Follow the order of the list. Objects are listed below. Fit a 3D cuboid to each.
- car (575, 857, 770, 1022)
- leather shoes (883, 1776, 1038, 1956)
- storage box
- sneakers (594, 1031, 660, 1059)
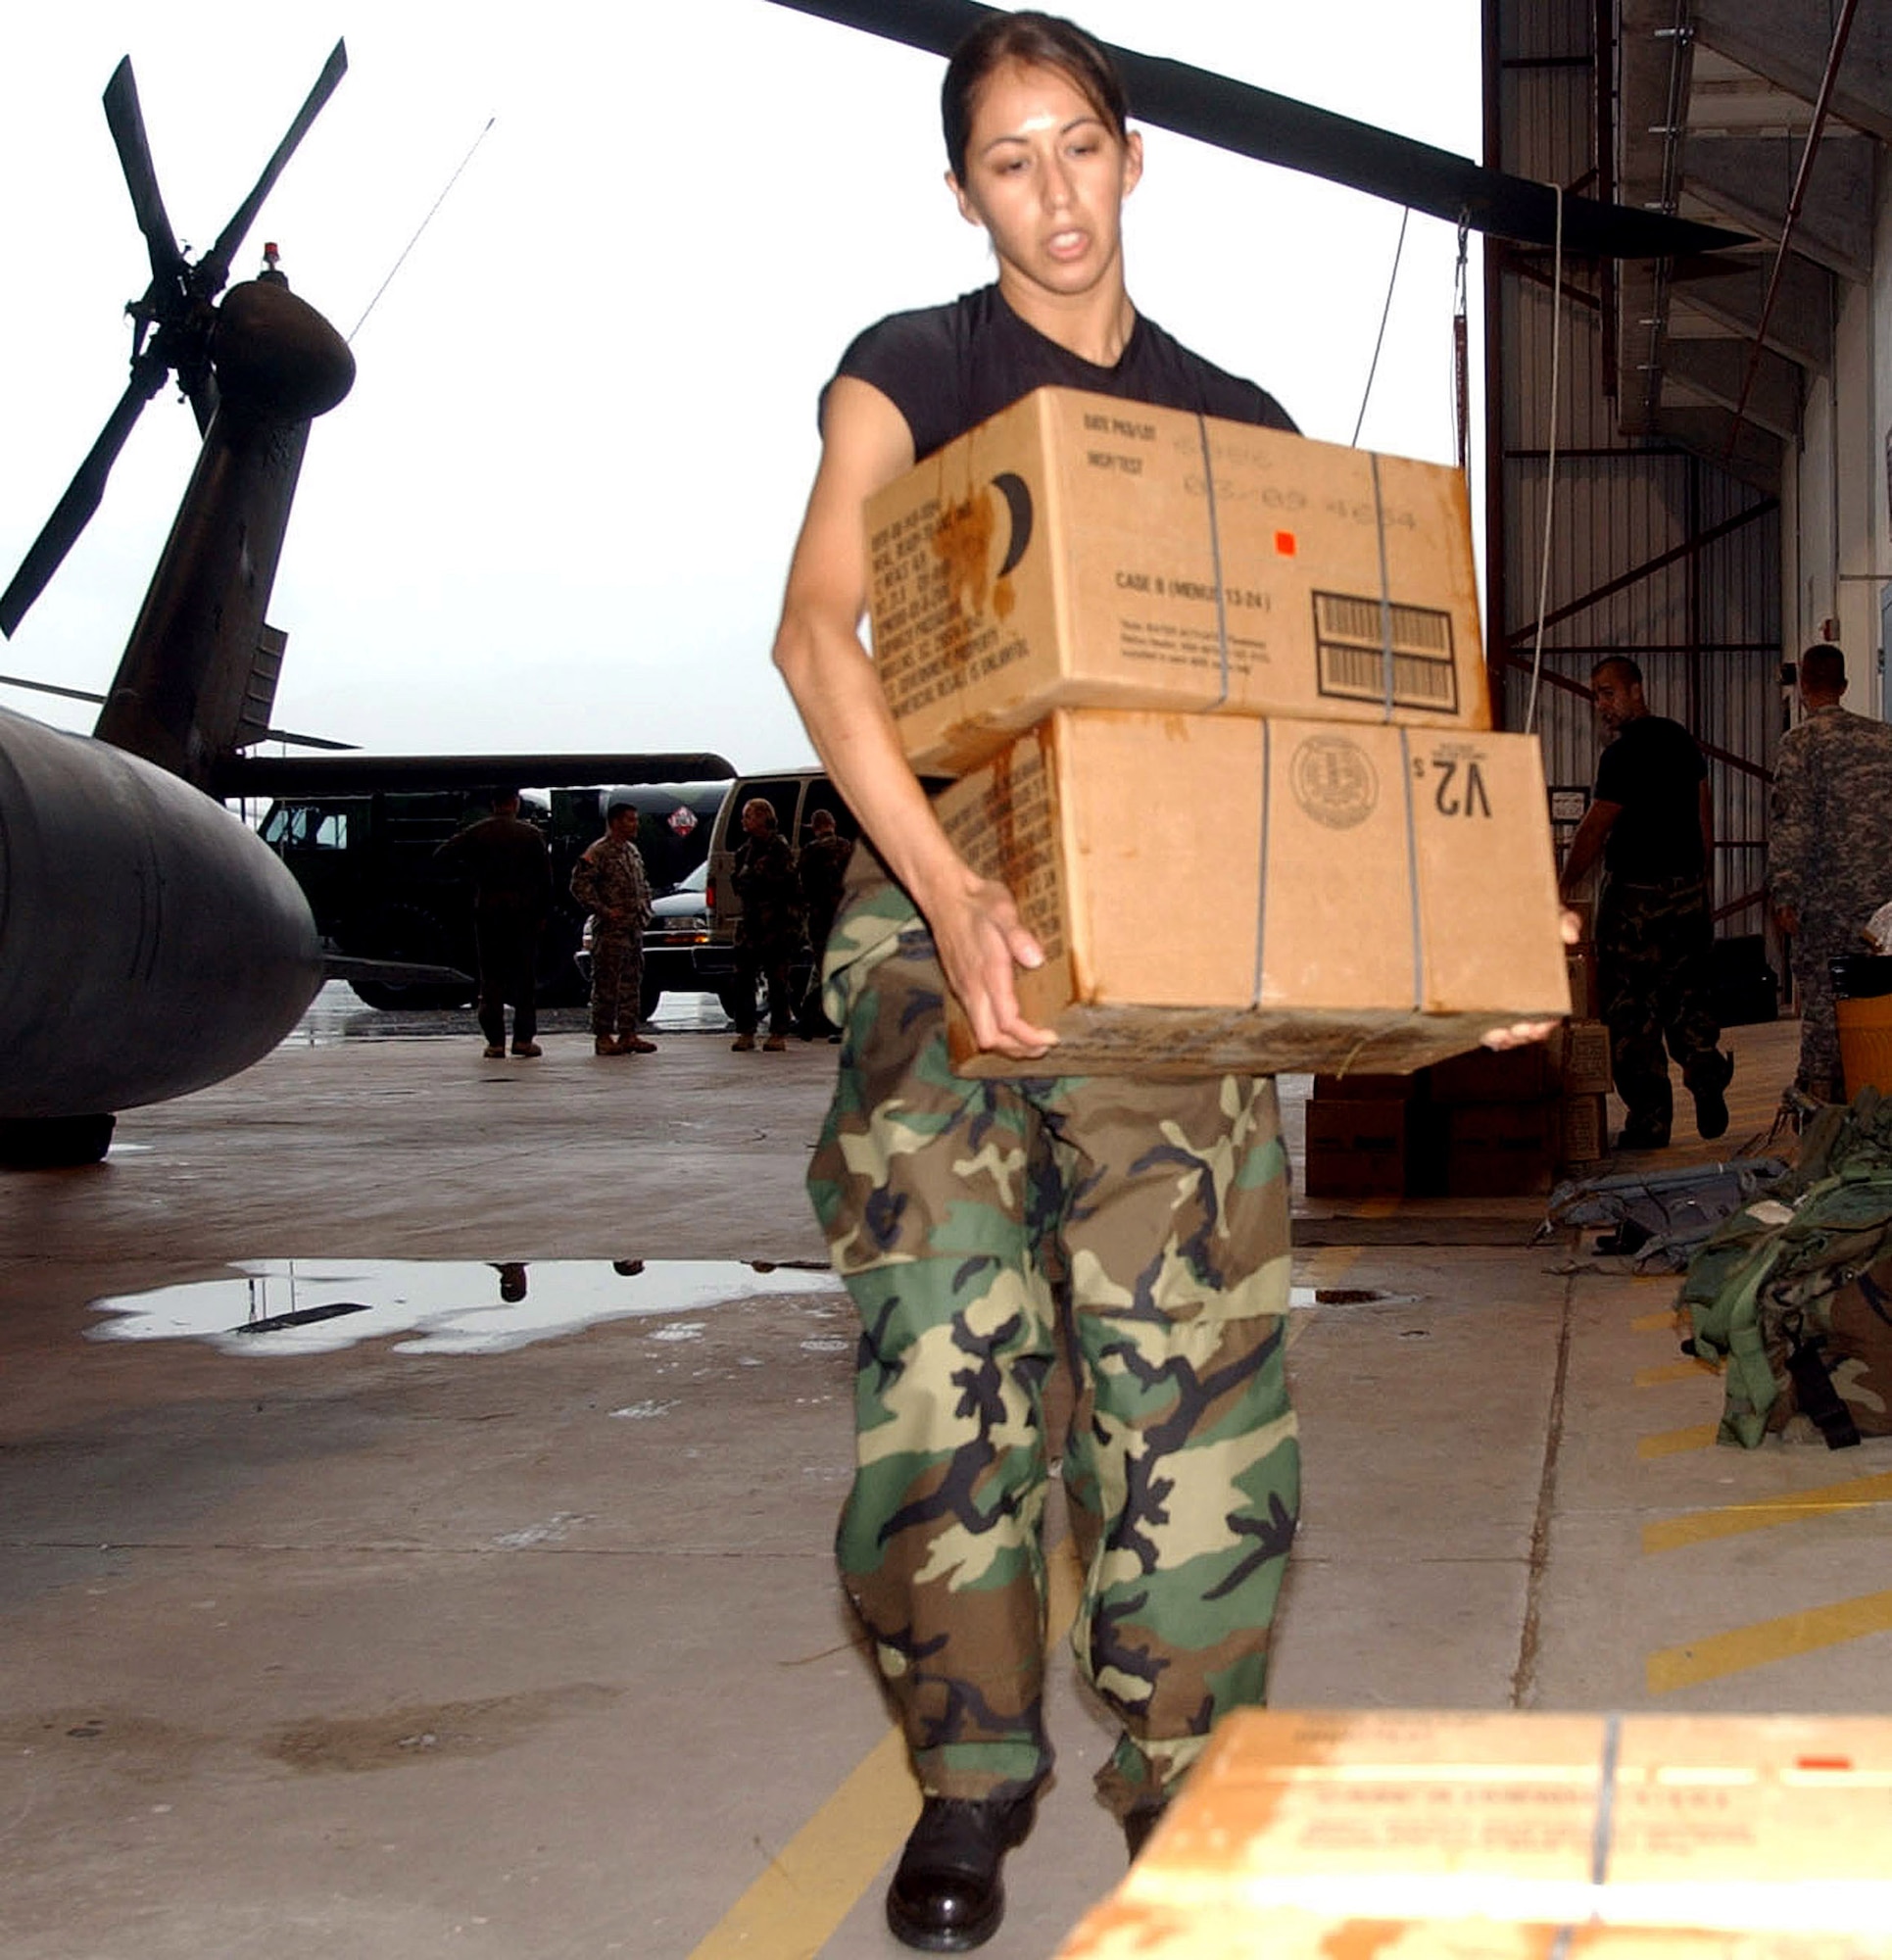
[{"bbox_3d":[-3.183,-0.560,22.551,1.684,1.206,3.009,-1,-8,1],"label":"car"},{"bbox_3d":[0.009,0.887,1.903,0.092,0.080,0.208,2,-1,7],"label":"leather shoes"},{"bbox_3d":[0.295,-0.223,1.939,0.606,0.654,0.361,-2,1,-26],"label":"storage box"},{"bbox_3d":[-2.823,0.573,16.991,0.557,0.179,0.170,-4,6,-33],"label":"sneakers"}]
